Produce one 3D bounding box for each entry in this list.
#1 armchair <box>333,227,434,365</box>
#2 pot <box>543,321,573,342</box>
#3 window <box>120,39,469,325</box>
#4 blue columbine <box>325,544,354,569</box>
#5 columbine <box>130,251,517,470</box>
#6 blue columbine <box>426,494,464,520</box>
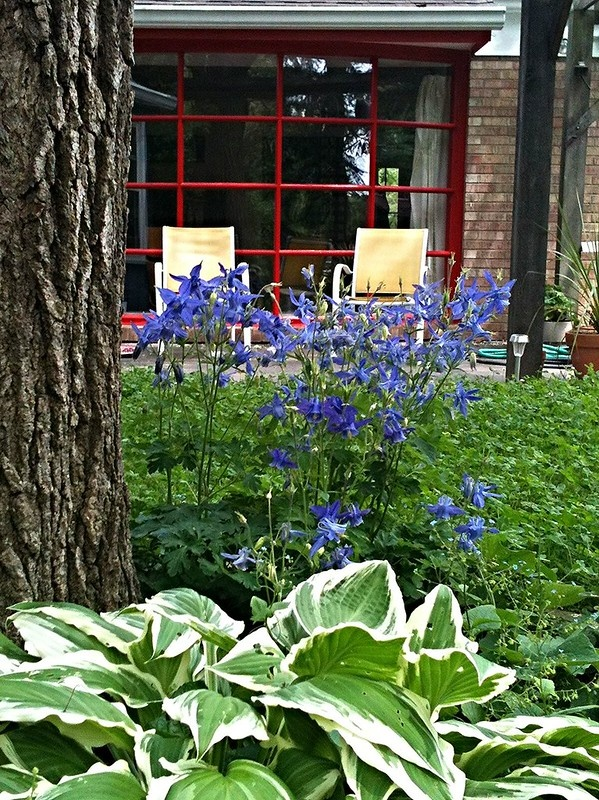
[{"bbox_3d":[0.716,-0.935,7.818,1.092,1.107,1.046,1,2,36],"label":"armchair"},{"bbox_3d":[2.308,-0.607,7.821,0.216,0.211,0.331,5,4,17],"label":"pot"},{"bbox_3d":[-0.131,-1.847,6.916,3.309,2.175,0.133,0,6,-2],"label":"window"},{"bbox_3d":[0.082,0.341,1.854,0.064,0.030,0.063,29,-42,-33],"label":"blue columbine"},{"bbox_3d":[0.074,-0.109,2.229,0.727,0.492,0.723,2,-3,-4],"label":"columbine"},{"bbox_3d":[0.332,0.250,2.004,0.091,0.055,0.095,-7,-9,36],"label":"blue columbine"}]
